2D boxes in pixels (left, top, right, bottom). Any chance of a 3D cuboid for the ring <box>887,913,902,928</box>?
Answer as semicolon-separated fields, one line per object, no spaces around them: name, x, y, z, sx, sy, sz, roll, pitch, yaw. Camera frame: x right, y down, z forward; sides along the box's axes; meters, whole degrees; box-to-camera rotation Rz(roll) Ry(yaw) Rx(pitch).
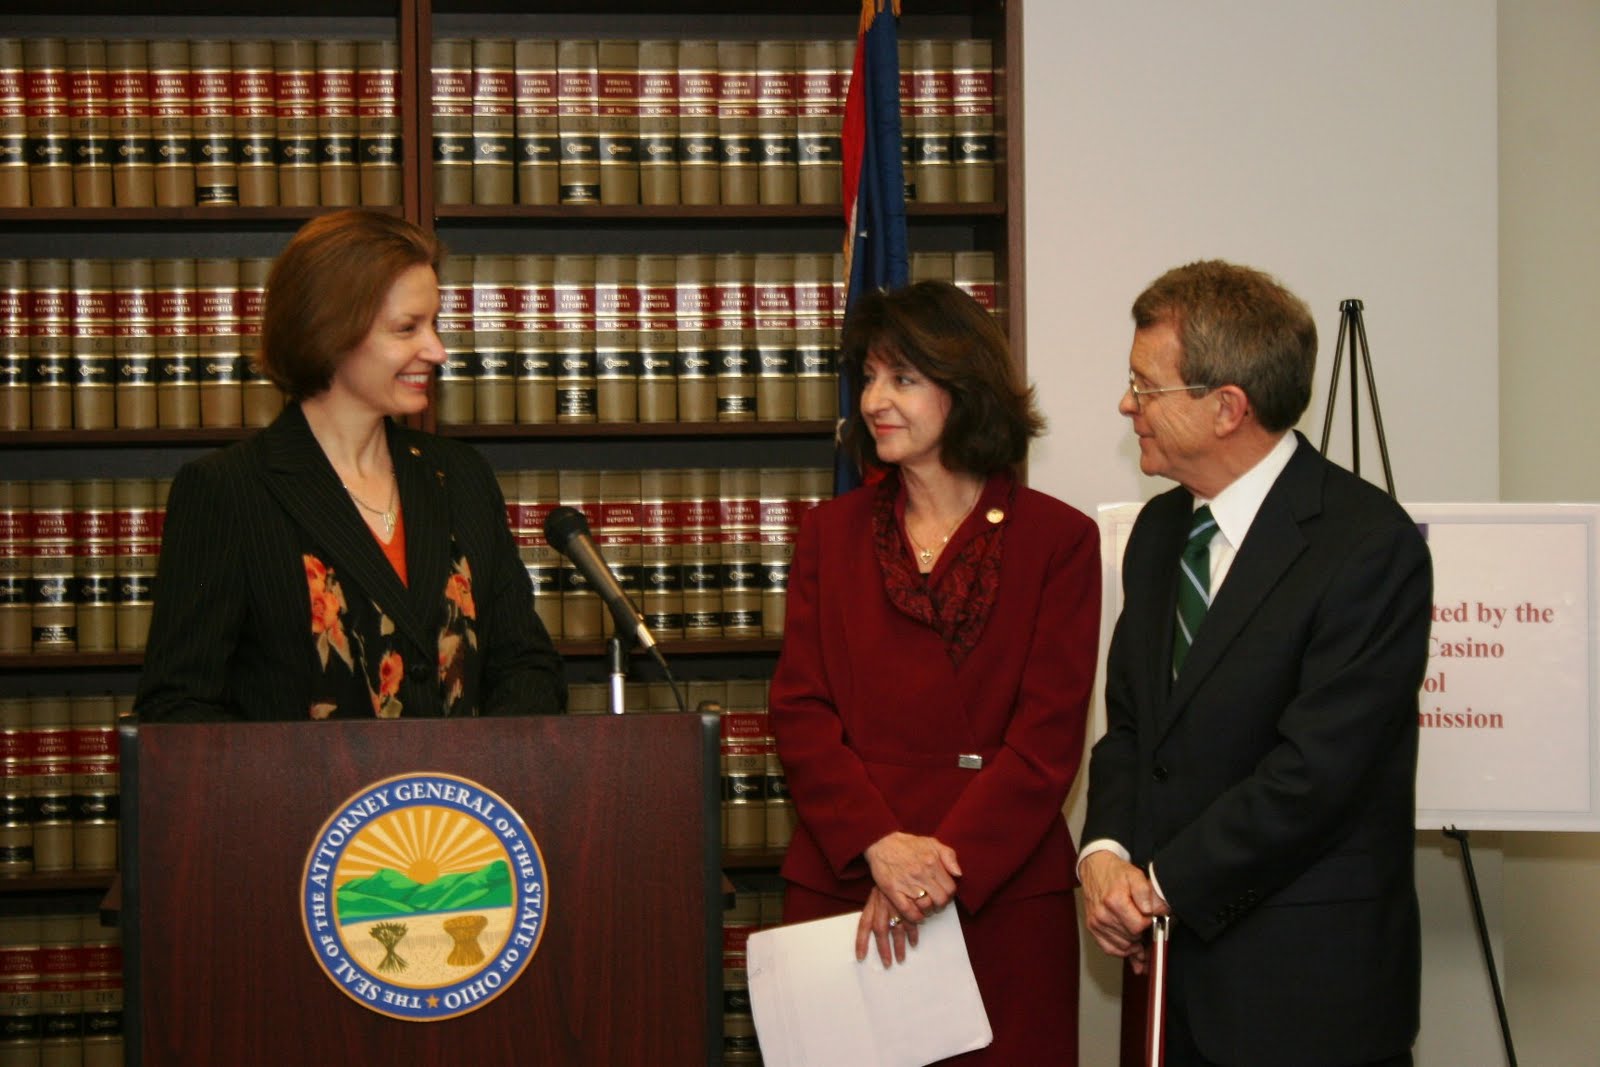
ring;0.212;0.866;4.173;0.026;0.024;0.027;-5;11;1

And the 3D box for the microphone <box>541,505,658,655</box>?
microphone;-0.432;0.096;3.906;0.198;0.322;0.311;-4;-5;-11
